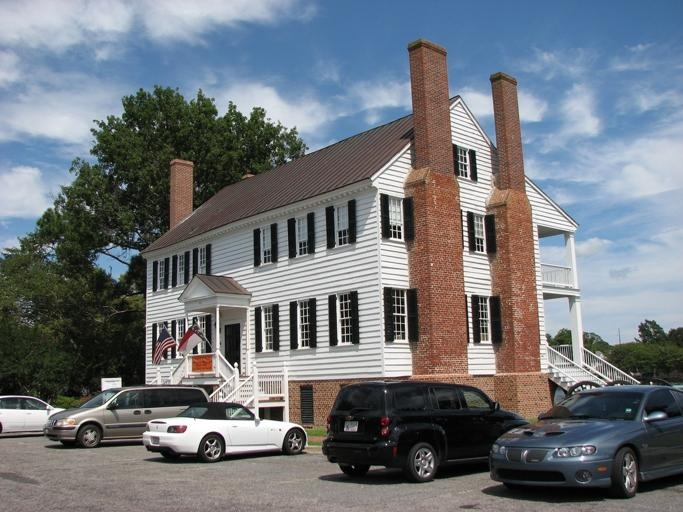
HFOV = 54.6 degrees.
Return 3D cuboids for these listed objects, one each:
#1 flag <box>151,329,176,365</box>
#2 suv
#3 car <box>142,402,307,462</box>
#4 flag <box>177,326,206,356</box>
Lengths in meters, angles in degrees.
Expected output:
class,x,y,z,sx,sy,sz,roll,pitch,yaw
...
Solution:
class,x,y,z,sx,sy,sz,roll,pitch,yaw
flag,-9.456,4.824,35.341,0.132,2.242,2.569,28,-17,-16
suv,2.004,3.922,15.868,4.297,1.478,2.092,3,-8,-37
car,-3.286,4.913,18.908,3.869,1.115,1.858,3,-9,-32
flag,-7.375,4.165,32.625,1.926,1.740,0.332,-10,-8,14
